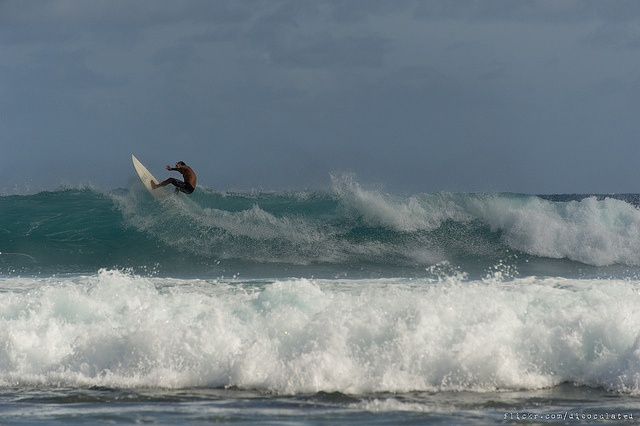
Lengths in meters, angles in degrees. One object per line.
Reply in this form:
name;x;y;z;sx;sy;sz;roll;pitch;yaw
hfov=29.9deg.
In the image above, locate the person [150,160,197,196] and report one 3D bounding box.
person;-3.626;-0.887;29.867;1.224;0.813;1.252;18;-5;-2
